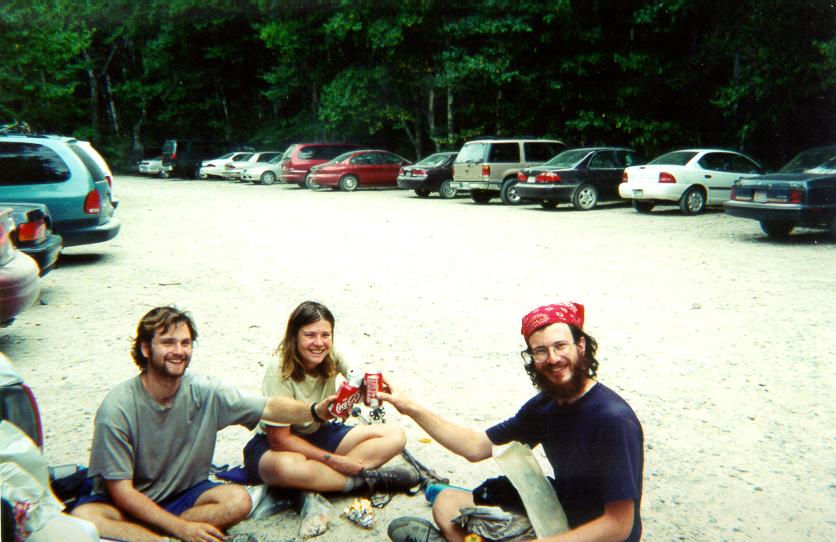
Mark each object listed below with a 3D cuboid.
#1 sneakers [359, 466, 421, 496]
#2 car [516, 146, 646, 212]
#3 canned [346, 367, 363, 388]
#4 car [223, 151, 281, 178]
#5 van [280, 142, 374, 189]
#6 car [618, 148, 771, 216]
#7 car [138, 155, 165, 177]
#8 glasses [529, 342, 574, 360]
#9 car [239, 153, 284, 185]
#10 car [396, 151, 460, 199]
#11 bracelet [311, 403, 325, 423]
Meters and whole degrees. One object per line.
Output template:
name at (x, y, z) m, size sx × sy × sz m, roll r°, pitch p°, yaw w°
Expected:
sneakers at (-0.206, 1.691, 6.237) m, size 0.321 × 0.115 × 0.240 m, roll 5°, pitch -6°, yaw -5°
car at (3.845, -2.282, 19.405) m, size 3.211 × 0.975 × 1.380 m, roll -13°, pitch 16°, yaw -27°
canned at (-0.476, 0.827, 5.853) m, size 0.117 × 0.120 × 0.128 m, roll 3°, pitch -6°, yaw -32°
car at (-7.039, -4.464, 33.443) m, size 1.229 × 0.867 × 2.752 m, roll 11°, pitch 26°, yaw 42°
van at (-3.640, -4.247, 29.894) m, size 3.052 × 1.109 × 1.430 m, roll -11°, pitch 16°, yaw -26°
car at (6.350, -2.190, 17.620) m, size 3.092 × 0.963 × 1.380 m, roll -12°, pitch 16°, yaw -26°
car at (-13.316, -5.236, 38.755) m, size 1.095 × 0.794 × 1.815 m, roll -1°, pitch 10°, yaw -10°
glasses at (0.915, 0.543, 5.209) m, size 0.287 × 0.128 × 0.071 m, roll 2°, pitch 11°, yaw 4°
car at (-6.557, -4.204, 32.407) m, size 2.389 × 0.823 × 1.092 m, roll -5°, pitch 14°, yaw -24°
car at (0.533, -2.958, 23.570) m, size 2.264 × 0.711 × 0.993 m, roll -12°, pitch 17°, yaw -28°
bracelet at (-0.752, 1.110, 5.996) m, size 0.041 × 0.130 × 0.134 m, roll -12°, pitch 10°, yaw -18°
